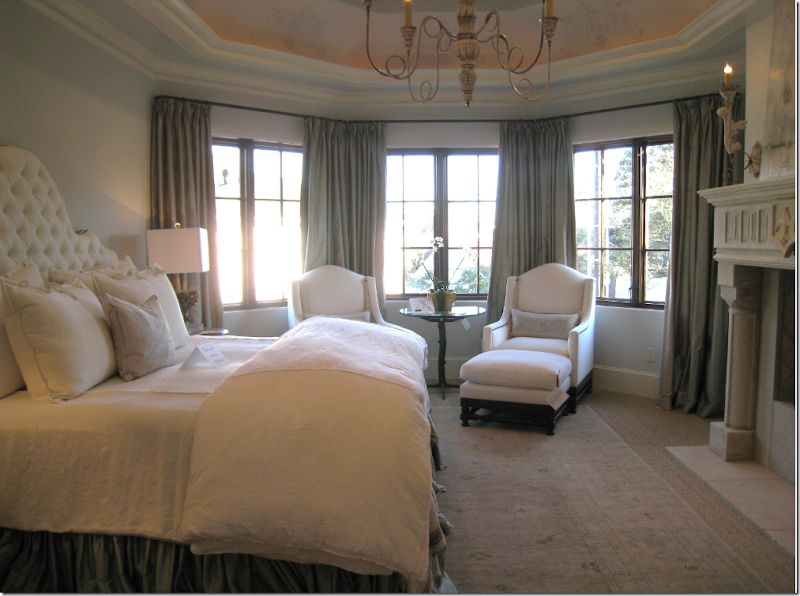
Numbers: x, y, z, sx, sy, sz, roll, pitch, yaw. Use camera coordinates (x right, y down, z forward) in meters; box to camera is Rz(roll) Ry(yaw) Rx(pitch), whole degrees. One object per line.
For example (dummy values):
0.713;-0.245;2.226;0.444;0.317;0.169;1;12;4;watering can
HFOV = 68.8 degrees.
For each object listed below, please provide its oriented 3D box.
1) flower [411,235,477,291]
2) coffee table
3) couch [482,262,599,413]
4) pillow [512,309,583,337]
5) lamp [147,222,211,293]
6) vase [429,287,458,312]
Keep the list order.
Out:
0.502;-0.448;6.789;0.577;0.673;0.194;3;-5;-4;flower
0.467;0.525;6.303;0.903;1.017;0.919;-1;-2;0;coffee table
1.411;0.373;5.787;1.071;1.349;1.128;0;7;18;couch
1.462;0.145;5.789;0.719;0.414;0.215;3;-5;27;pillow
-1.929;-0.351;5.179;0.554;0.839;0.406;0;5;-4;lamp
0.454;0.016;6.055;0.215;0.178;0.229;0;-6;-4;vase
